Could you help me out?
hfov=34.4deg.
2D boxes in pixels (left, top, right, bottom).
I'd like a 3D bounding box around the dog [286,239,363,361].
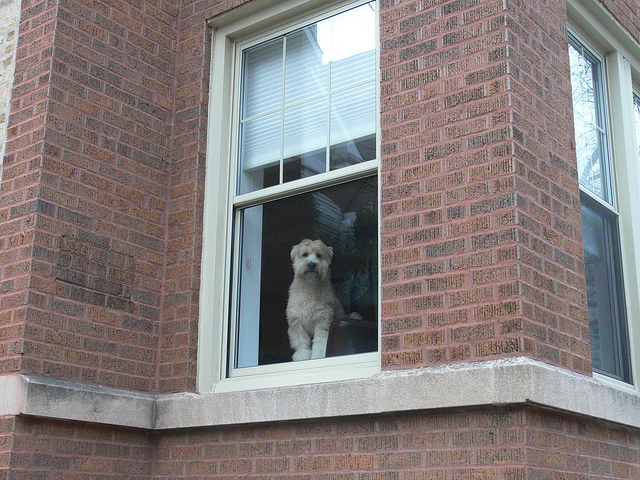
[{"bbox_3d":[-0.052,0.439,7.757,0.452,1.000,0.325,-4,-20,8],"label":"dog"}]
